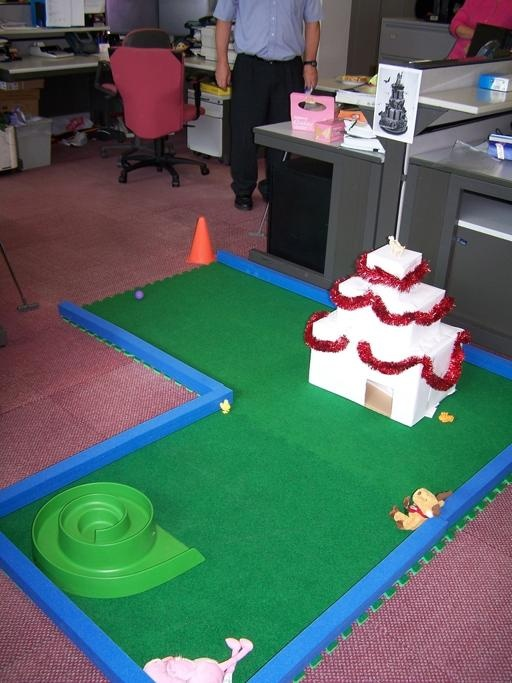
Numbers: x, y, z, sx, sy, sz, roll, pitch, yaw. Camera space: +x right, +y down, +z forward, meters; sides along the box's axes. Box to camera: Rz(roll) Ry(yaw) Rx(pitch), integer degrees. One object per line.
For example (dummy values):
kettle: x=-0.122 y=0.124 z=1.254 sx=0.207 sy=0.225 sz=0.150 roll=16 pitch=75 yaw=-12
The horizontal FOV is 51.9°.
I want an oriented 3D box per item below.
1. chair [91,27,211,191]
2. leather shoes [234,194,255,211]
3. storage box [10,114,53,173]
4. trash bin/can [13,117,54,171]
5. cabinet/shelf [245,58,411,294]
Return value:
chair: x=-0.889 y=-2.095 z=4.700 sx=0.865 sy=1.166 sz=0.774 roll=-14 pitch=36 yaw=-27
leather shoes: x=-0.114 y=-1.159 z=4.344 sx=0.094 sy=0.138 sz=0.149 roll=-23 pitch=43 yaw=-31
storage box: x=-2.146 y=-1.890 z=5.060 sx=0.362 sy=0.455 sz=0.238 roll=-17 pitch=34 yaw=-33
trash bin/can: x=-2.146 y=-1.887 z=5.028 sx=0.329 sy=0.396 sz=0.429 roll=-14 pitch=39 yaw=-26
cabinet/shelf: x=0.503 y=-0.862 z=3.243 sx=0.922 sy=0.810 sz=1.070 roll=-28 pitch=46 yaw=-37
